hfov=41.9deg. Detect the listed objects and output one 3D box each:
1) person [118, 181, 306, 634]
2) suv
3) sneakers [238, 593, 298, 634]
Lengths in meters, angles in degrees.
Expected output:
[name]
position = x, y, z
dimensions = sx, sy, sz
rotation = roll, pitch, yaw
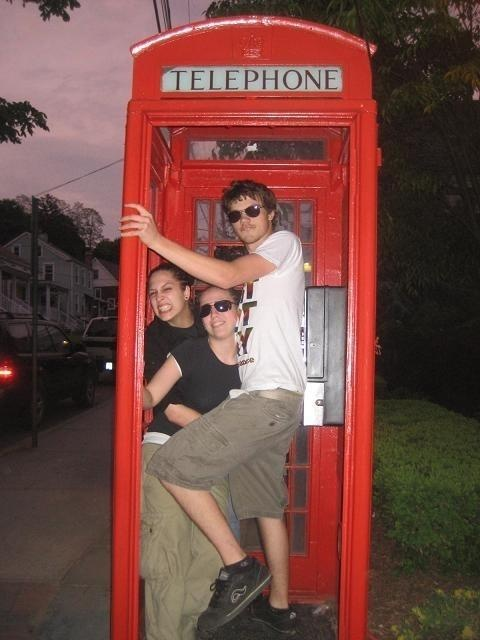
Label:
[person]
position = -0.060, 0.484, 2.774
dimensions = 0.740, 1.955, 0.413
rotation = 0, 1, -6
[suv]
position = -2.852, 0.729, 9.050
dimensions = 0.661, 1.566, 3.183
rotation = 0, 1, 0
[sneakers]
position = 0.132, 1.414, 3.085
dimensions = 0.125, 0.150, 0.313
rotation = 5, -1, -40
